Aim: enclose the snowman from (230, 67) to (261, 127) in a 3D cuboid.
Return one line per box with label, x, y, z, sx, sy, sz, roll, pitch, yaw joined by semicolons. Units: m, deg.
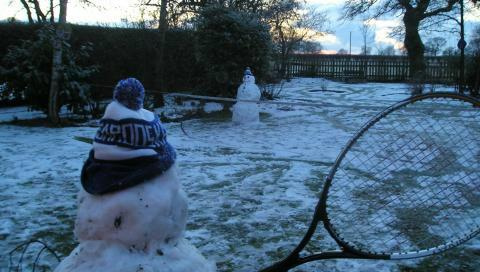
snowman;0.306;-1.557;17.233;1.068;2.378;1.019;4;10;13
